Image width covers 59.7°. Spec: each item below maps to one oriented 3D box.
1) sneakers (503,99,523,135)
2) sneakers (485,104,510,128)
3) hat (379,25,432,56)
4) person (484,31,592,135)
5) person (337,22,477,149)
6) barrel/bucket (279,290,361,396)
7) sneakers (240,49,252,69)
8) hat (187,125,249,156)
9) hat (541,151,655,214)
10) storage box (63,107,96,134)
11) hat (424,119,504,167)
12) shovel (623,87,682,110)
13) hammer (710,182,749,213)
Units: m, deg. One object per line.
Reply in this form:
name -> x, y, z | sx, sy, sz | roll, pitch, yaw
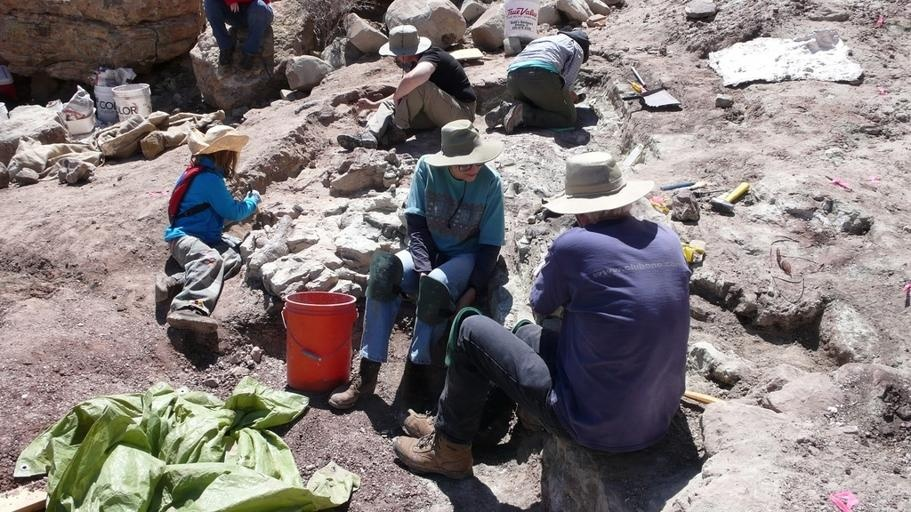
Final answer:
sneakers -> 0.751, -1.757, 10.068 | 0.223, 0.178, 0.462 | 12, 69, 11
sneakers -> 0.549, -1.820, 10.307 | 0.388, 0.164, 0.224 | -43, 30, -23
hat -> -0.635, -2.612, 9.831 | 0.568, 0.218, 0.527 | -19, 38, -8
person -> 1.157, -2.202, 10.177 | 1.341, 1.076, 0.734 | -18, 35, -28
person -> -0.655, -2.098, 9.875 | 1.875, 1.297, 0.948 | -11, 15, -22
barrel/bucket -> -1.331, 0.862, 7.861 | 0.756, 0.748, 0.751 | 2, 5, 0
sneakers -> -3.161, -2.947, 11.907 | 0.174, 0.249, 0.258 | 9, 9, 7
hat -> -2.565, -1.231, 8.544 | 0.511, 0.156, 0.421 | -14, 9, 7
hat -> 1.213, -0.684, 6.888 | 1.046, 0.410, 0.973 | -3, 25, 19
storage box -> -5.315, -1.918, 11.290 | 0.366, 0.201, 0.334 | -8, 22, -11
hat -> 0.093, -1.025, 7.640 | 0.580, 0.229, 0.533 | -17, 8, -2
shovel -> 2.468, -1.965, 9.906 | 0.469, 0.184, 0.659 | -10, 29, -17
hammer -> 2.819, -0.553, 8.137 | 0.434, 0.113, 0.237 | -34, 48, -26
